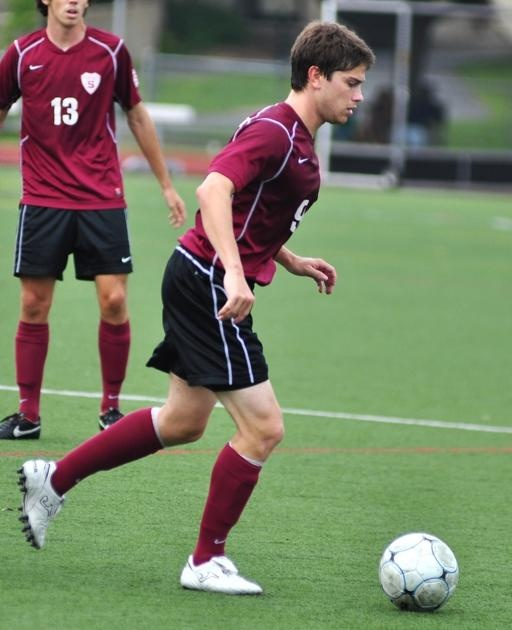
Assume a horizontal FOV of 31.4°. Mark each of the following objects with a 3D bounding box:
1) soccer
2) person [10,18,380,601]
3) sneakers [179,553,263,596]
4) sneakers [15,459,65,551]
[{"bbox_3d":[0.449,0.691,2.427,0.240,0.197,0.230,2,0,-23],"label":"soccer"},{"bbox_3d":[-0.179,-0.070,2.603,0.837,1.586,0.638,5,8,25],"label":"person"},{"bbox_3d":[-0.102,0.702,2.479,0.244,0.097,0.086,7,-12,-2],"label":"sneakers"},{"bbox_3d":[-0.611,0.512,2.562,0.154,0.274,0.094,1,5,-3],"label":"sneakers"}]
